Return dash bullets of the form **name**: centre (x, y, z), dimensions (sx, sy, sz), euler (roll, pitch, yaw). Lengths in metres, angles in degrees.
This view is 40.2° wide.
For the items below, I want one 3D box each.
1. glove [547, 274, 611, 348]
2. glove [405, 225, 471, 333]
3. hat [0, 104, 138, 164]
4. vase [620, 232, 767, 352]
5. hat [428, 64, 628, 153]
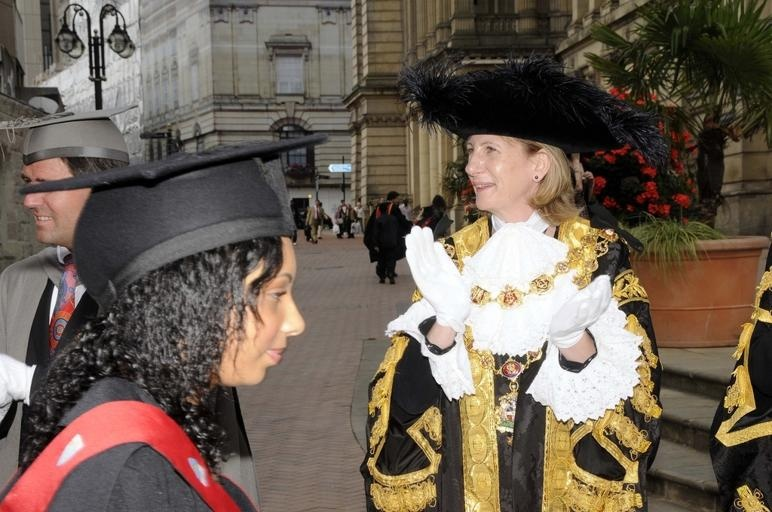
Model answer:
- **glove**: centre (1.041, 0.303, 5.674), dimensions (0.293, 0.407, 0.189), euler (-6, 9, -16)
- **glove**: centre (0.291, 0.126, 5.840), dimensions (0.339, 0.598, 0.193), euler (-3, 9, 2)
- **hat**: centre (-1.810, -0.675, 5.887), dimensions (0.551, 0.192, 0.388), euler (2, 12, 6)
- **vase**: centre (2.757, 0.305, 9.611), dimensions (1.134, 0.726, 1.065), euler (-2, -1, -10)
- **hat**: centre (0.808, -0.888, 6.135), dimensions (0.885, 0.304, 0.587), euler (4, 10, 11)
